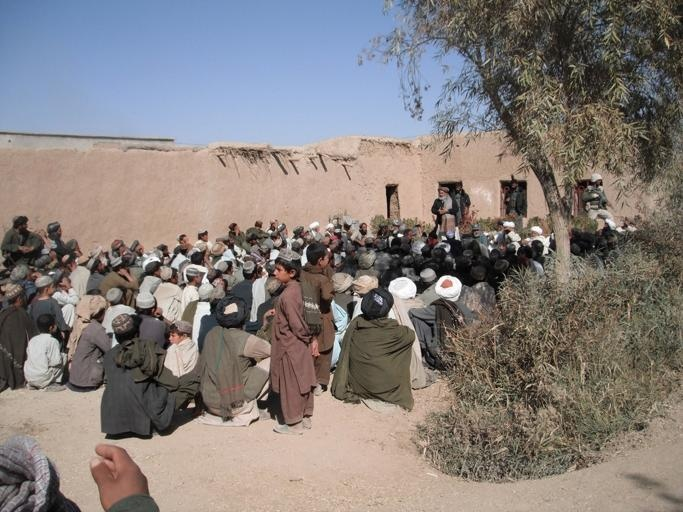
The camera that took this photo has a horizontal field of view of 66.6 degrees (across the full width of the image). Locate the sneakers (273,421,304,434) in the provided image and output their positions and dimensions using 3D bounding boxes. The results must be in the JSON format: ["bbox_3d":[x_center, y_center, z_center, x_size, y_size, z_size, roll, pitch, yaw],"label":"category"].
[{"bbox_3d":[-0.616,2.034,6.121,0.232,0.096,0.173,4,-3,-1],"label":"sneakers"}]

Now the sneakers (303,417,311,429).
[{"bbox_3d":[-0.417,1.989,6.187,0.074,0.129,0.125,2,-6,-15],"label":"sneakers"}]
